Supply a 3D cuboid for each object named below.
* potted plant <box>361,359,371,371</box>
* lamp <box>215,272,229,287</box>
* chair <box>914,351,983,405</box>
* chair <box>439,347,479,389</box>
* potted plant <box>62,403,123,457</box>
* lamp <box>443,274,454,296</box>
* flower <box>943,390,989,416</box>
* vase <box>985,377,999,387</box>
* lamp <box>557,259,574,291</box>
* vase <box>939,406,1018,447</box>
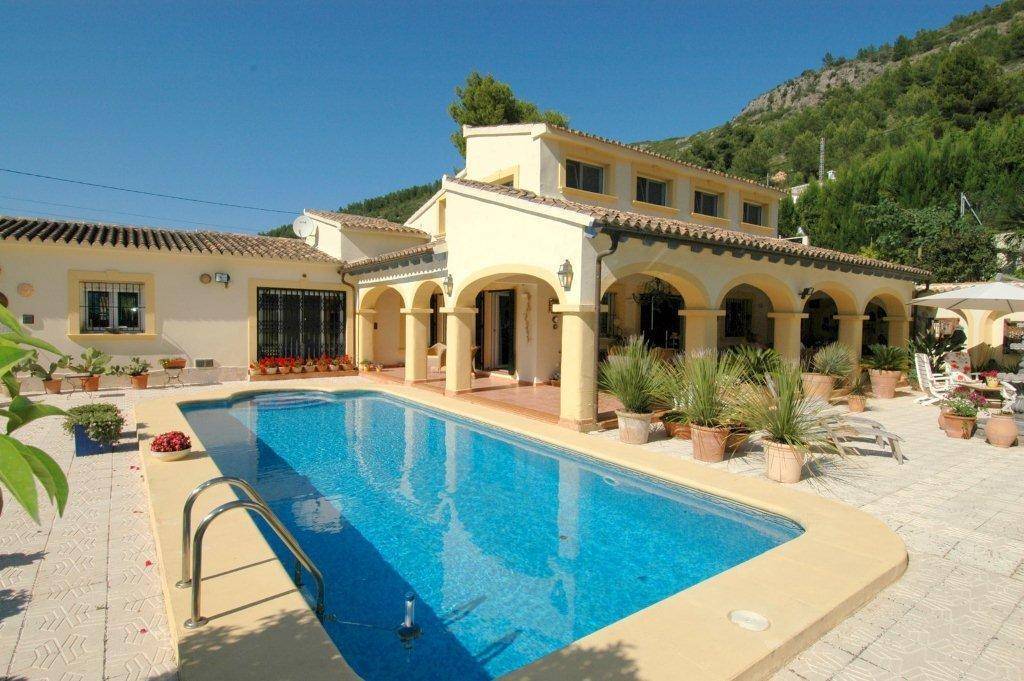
[{"bbox_3d":[-5.774,0.908,27.139,0.381,0.292,0.392,-3,-6,37],"label":"potted plant"},{"bbox_3d":[-10.687,-2.296,25.257,0.334,0.520,0.232,0,12,-10],"label":"lamp"},{"bbox_3d":[13.267,1.284,21.247,2.118,1.949,1.599,0,1,21],"label":"chair"},{"bbox_3d":[-2.101,0.935,25.967,1.448,1.452,1.411,-2,-11,7],"label":"chair"},{"bbox_3d":[-10.319,2.220,16.811,1.525,1.455,1.356,-2,12,-39],"label":"potted plant"},{"bbox_3d":[-2.032,-1.807,21.944,0.100,0.481,0.775,-1,-1,-26],"label":"lamp"},{"bbox_3d":[12.149,1.647,18.258,0.837,0.567,0.884,-3,4,24],"label":"flower"},{"bbox_3d":[14.223,1.194,20.237,0.257,0.194,0.276,0,0,0],"label":"vase"},{"bbox_3d":[1.406,-1.791,18.251,0.509,0.643,0.226,-2,-1,39],"label":"lamp"},{"bbox_3d":[12.144,2.269,17.908,0.777,0.724,1.805,1,-4,-13],"label":"vase"}]
